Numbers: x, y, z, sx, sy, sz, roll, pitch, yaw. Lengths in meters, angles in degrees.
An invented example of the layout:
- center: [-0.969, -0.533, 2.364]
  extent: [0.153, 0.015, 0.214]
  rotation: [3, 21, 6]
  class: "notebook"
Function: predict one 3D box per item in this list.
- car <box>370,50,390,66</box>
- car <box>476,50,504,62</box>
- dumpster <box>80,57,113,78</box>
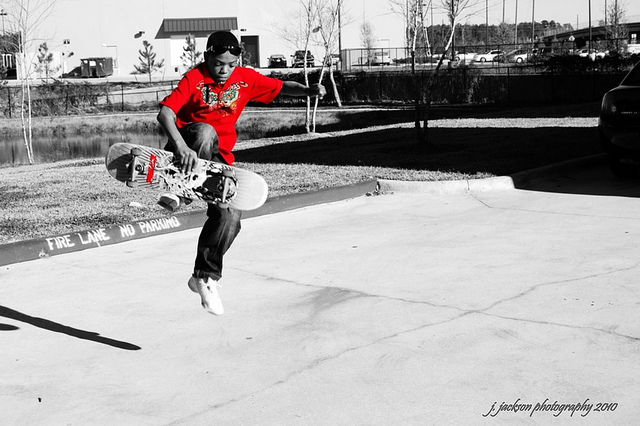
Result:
- center: [6.859, -17.368, 63.097]
  extent: [1.910, 1.644, 4.783]
  rotation: [-1, 23, 1]
  class: "car"
- center: [20.260, -18.873, 67.237]
  extent: [2.786, 1.194, 8.476]
  rotation: [4, 17, 18]
  class: "car"
- center: [-23.716, -15.554, 60.580]
  extent: [2.834, 1.990, 3.023]
  rotation: [5, 18, 14]
  class: "dumpster"
